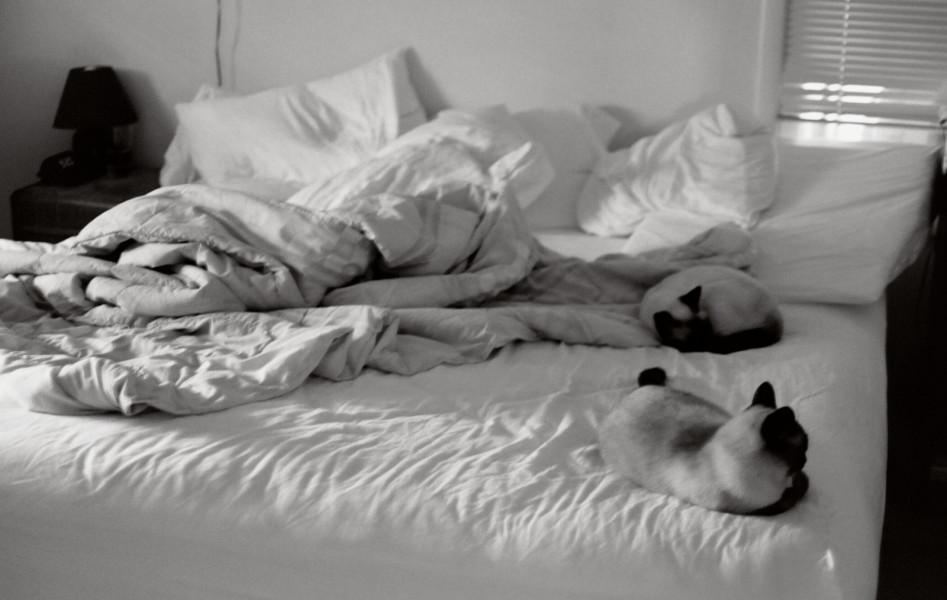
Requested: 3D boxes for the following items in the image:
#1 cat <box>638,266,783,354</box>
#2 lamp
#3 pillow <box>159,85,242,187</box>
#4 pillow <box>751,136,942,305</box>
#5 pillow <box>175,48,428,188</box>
[{"bbox_3d":[0.661,0.074,2.467,0.260,0.113,0.276,-23,-21,17],"label":"cat"},{"bbox_3d":[-2.051,-0.938,4.237,0.404,0.574,0.376,3,17,-4],"label":"lamp"},{"bbox_3d":[-1.432,-0.837,4.190,0.473,0.521,0.155,9,11,21],"label":"pillow"},{"bbox_3d":[1.326,-0.233,2.966,0.677,0.184,0.679,2,44,45],"label":"pillow"},{"bbox_3d":[-0.786,-0.797,4.016,0.859,0.768,0.256,-23,-14,10],"label":"pillow"}]
